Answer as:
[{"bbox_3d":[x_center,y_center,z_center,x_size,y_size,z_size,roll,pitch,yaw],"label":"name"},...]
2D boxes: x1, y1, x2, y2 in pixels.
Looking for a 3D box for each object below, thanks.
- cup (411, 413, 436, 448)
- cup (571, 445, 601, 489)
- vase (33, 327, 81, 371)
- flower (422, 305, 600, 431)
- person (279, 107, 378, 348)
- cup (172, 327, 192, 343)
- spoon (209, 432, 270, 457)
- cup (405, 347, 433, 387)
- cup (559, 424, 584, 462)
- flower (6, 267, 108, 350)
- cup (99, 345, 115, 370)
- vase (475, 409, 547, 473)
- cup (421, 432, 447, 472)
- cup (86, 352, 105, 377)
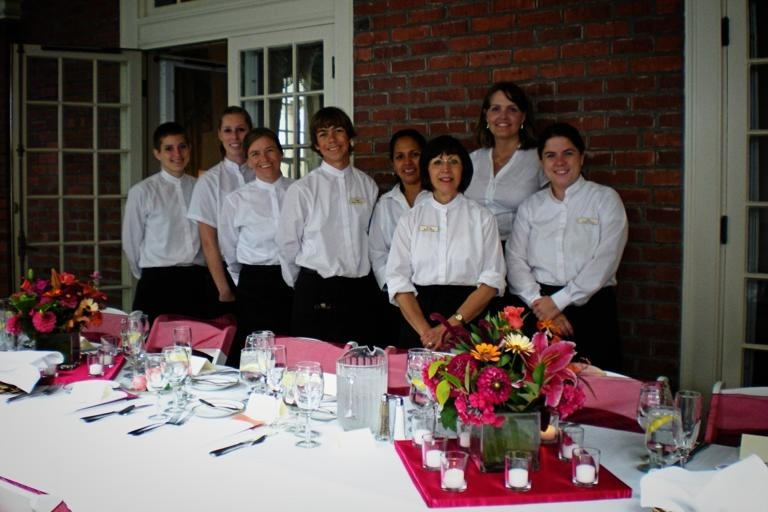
[{"bbox_3d":[0.127,0.607,2.127,0.094,0.097,0.088,1,-3,0],"label":"cup"},{"bbox_3d":[0.626,0.655,1.921,0.108,0.113,0.105,0,0,0],"label":"cup"},{"bbox_3d":[-1.516,0.431,2.867,0.190,0.173,0.181,2,-1,-19],"label":"vase"},{"bbox_3d":[0.401,0.391,2.024,0.473,0.376,0.460,0,0,-2],"label":"flower"},{"bbox_3d":[-0.372,-0.181,3.963,0.637,1.500,0.314,-1,2,-3],"label":"person"},{"bbox_3d":[-0.863,0.340,2.651,0.071,0.074,0.072,1,-2,0],"label":"cup"},{"bbox_3d":[-0.492,0.645,2.118,0.231,0.020,0.056,-9,14,-41],"label":"spoon"},{"bbox_3d":[0.155,0.419,2.316,0.087,0.140,0.143,3,3,5],"label":"cup"},{"bbox_3d":[0.619,0.623,2.049,0.102,0.108,0.100,1,-2,0],"label":"cup"},{"bbox_3d":[-1.606,0.258,3.068,0.399,0.344,0.389,7,-10,-4],"label":"flower"},{"bbox_3d":[-1.272,0.459,2.818,0.070,0.107,0.109,-1,-4,8],"label":"cup"},{"bbox_3d":[0.397,0.592,1.992,0.196,0.179,0.194,-1,-5,7],"label":"vase"},{"bbox_3d":[0.157,0.633,1.986,0.101,0.107,0.098,1,-5,0],"label":"cup"},{"bbox_3d":[-1.272,0.485,2.753,0.101,0.104,0.092,-1,-7,0],"label":"cup"}]
